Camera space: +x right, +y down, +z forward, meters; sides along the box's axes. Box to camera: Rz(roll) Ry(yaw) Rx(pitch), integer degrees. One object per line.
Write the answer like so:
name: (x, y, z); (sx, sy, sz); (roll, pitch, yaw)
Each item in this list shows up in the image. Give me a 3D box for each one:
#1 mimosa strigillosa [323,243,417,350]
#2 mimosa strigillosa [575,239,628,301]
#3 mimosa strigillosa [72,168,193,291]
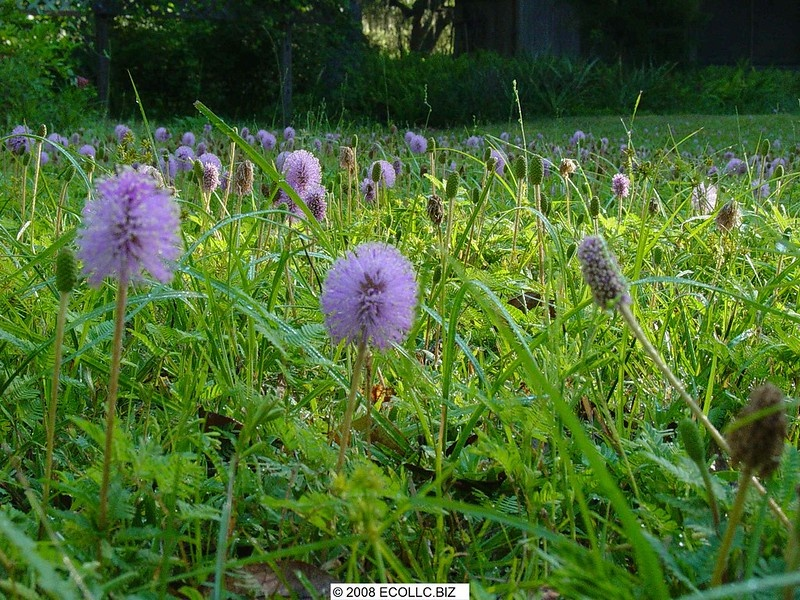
mimosa strigillosa: (-0.063, 0.003, 1.357); (0.186, 0.214, 0.187); (-4, 18, -18)
mimosa strigillosa: (0.361, -0.040, 1.246); (0.050, 0.061, 0.148); (-3, 56, -6)
mimosa strigillosa: (-0.454, -0.127, 1.192); (0.174, 0.182, 0.185); (1, 17, -2)
